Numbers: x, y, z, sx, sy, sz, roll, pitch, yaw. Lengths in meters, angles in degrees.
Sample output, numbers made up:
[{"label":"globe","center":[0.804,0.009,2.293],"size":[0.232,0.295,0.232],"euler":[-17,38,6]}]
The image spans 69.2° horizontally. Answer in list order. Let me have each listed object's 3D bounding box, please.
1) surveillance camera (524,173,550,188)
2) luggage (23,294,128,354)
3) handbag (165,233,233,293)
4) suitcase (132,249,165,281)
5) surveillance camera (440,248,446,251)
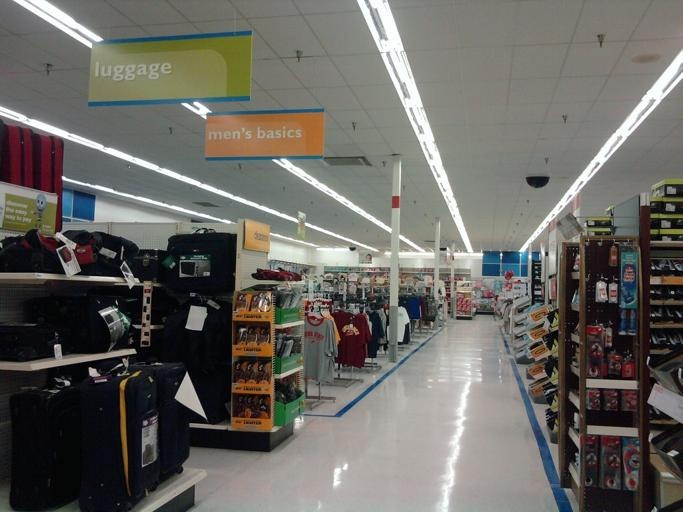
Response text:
[{"label":"surveillance camera","center":[4.835,-1.833,12.179],"size":[0.501,0.242,0.523],"euler":[-4,-5,38]},{"label":"luggage","center":[-2.201,0.556,4.122],"size":[0.745,0.503,0.432],"euler":[-1,3,16]},{"label":"handbag","center":[-1.555,0.094,5.362],"size":[0.579,0.594,0.316],"euler":[1,-3,-1]},{"label":"suitcase","center":[-2.028,0.083,5.246],"size":[0.349,0.299,0.347],"euler":[10,-28,-18]},{"label":"surveillance camera","center":[6.462,-0.374,31.463],"size":[0.367,0.227,0.868],"euler":[-2,-4,17]}]
